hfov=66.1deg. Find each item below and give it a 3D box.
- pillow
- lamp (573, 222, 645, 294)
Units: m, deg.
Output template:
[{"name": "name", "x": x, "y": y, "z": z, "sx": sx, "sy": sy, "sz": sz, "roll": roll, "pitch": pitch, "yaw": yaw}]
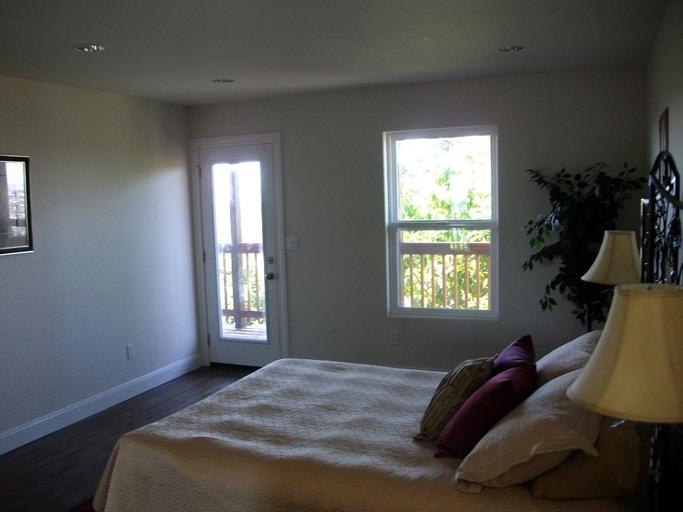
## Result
[{"name": "pillow", "x": 0.856, "y": 0.744, "z": 2.271, "sx": 0.637, "sy": 0.201, "sz": 0.649, "roll": -19, "pitch": 11, "yaw": 41}, {"name": "lamp", "x": 1.485, "y": -0.027, "z": 3.016, "sx": 0.412, "sy": 0.316, "sz": 0.424, "roll": 7, "pitch": 8, "yaw": 29}]
